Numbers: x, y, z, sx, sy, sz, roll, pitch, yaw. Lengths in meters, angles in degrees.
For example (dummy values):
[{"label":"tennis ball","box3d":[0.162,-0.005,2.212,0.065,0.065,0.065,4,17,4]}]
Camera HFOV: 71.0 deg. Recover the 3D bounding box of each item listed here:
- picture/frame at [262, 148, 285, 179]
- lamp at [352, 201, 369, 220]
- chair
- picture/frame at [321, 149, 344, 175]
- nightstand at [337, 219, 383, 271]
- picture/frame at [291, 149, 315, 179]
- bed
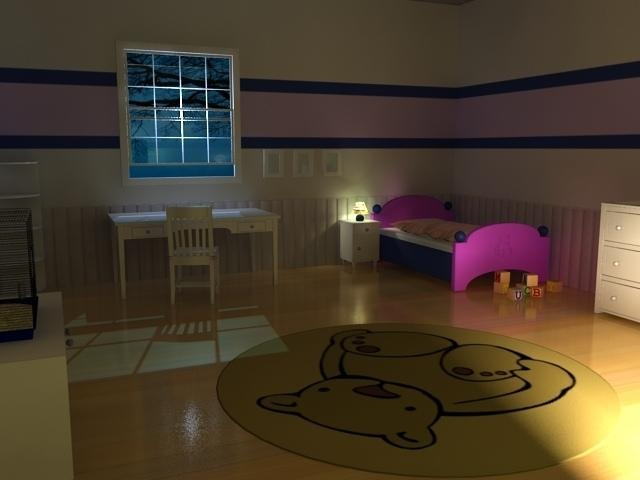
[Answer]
[{"label":"picture/frame","box3d":[-0.726,-1.143,6.651,0.447,0.547,0.041,-2,6,-26]},{"label":"lamp","box3d":[0.616,-0.454,6.965,0.266,0.289,0.276,-3,4,-40]},{"label":"chair","box3d":[-1.570,0.124,5.497,0.588,1.145,1.038,-4,12,-17]},{"label":"picture/frame","box3d":[0.152,-1.214,6.955,0.383,0.448,0.060,-3,11,-15]},{"label":"nightstand","box3d":[0.588,0.057,6.980,0.634,0.672,0.642,0,7,5]},{"label":"picture/frame","box3d":[-0.292,-1.169,6.811,0.434,0.501,0.067,-2,12,-17]},{"label":"bed","box3d":[1.705,0.074,6.492,1.424,1.003,1.801,-3,7,-22]}]
